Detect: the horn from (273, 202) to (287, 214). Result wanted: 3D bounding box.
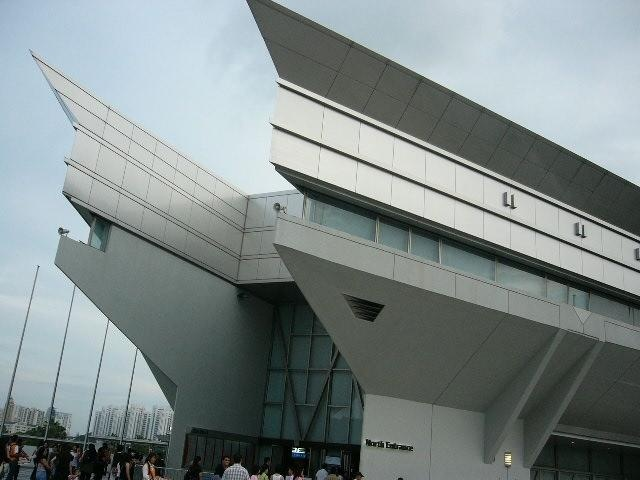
[{"bbox_3d":[-2.355,-1.940,31.139,0.859,0.696,0.354,9,-25,-9],"label":"horn"}]

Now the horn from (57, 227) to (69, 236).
[{"bbox_3d":[-10.658,-0.368,21.894,0.385,0.391,0.636,0,-4,21],"label":"horn"}]
